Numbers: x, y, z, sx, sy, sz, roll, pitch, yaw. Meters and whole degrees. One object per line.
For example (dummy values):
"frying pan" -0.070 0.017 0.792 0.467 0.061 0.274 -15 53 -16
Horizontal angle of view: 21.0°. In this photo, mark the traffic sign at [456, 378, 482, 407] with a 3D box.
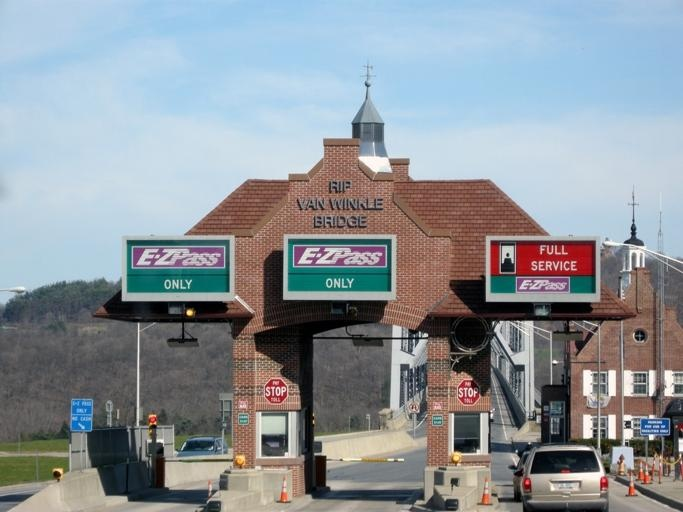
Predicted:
"traffic sign" 8.079 9.025 118.424 1.533 2.085 0.250 0 -8 0

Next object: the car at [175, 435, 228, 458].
"car" -10.650 14.748 140.268 3.985 1.534 2.194 0 -8 -19

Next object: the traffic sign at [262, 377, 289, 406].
"traffic sign" -4.319 9.002 118.976 1.474 1.924 0.224 0 -5 -2

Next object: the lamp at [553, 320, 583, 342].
"lamp" 14.407 5.215 119.063 1.451 1.090 1.460 0 -4 3
